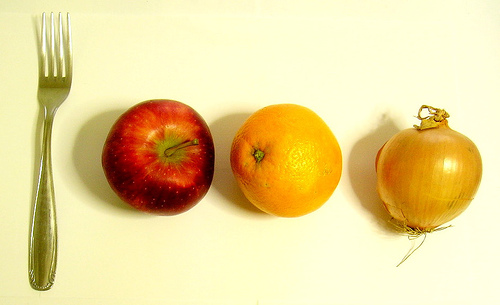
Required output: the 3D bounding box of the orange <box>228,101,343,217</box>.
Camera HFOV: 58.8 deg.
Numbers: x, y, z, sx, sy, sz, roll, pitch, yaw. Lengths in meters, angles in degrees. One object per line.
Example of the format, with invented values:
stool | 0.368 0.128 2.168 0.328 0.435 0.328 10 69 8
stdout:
orange | 0.094 0.019 1.243 0.277 0.273 0.281 -17 -8 2
